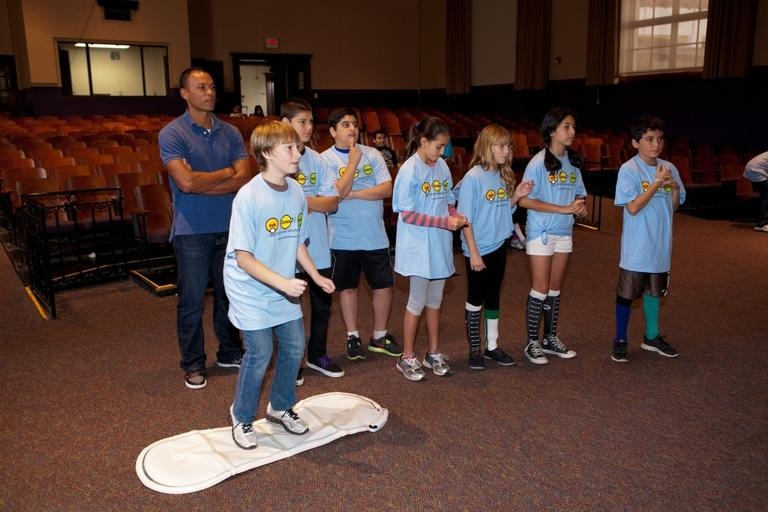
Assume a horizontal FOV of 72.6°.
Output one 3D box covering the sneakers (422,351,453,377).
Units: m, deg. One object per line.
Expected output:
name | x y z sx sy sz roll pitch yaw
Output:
sneakers | 0.439 0.855 4.207 0.113 0.131 0.276 0 5 -29

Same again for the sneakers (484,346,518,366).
sneakers | 0.958 0.821 4.295 0.276 0.116 0.103 6 12 41

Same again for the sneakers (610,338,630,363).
sneakers | 1.966 0.782 4.319 0.094 0.100 0.229 0 4 9

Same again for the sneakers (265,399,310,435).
sneakers | -0.628 1.082 3.542 0.332 0.160 0.146 23 20 11

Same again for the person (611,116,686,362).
person | 2.206 -0.137 4.316 0.588 1.942 0.845 9 21 30

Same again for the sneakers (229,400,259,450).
sneakers | -0.929 1.073 3.391 0.123 0.148 0.318 -4 39 -35

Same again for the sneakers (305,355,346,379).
sneakers | -0.467 0.888 4.248 0.352 0.147 0.133 14 19 25

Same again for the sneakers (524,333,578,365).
sneakers | 1.383 0.786 4.387 0.284 0.102 0.272 -3 0 -30

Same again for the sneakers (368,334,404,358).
sneakers | 0.023 0.770 4.559 0.311 0.145 0.138 8 5 24

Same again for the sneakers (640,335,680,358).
sneakers | 2.361 0.760 4.472 0.296 0.138 0.134 13 20 39

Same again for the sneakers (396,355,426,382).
sneakers | 0.211 0.877 4.122 0.109 0.137 0.274 -5 11 -28

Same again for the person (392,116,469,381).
person | 0.357 -0.066 4.107 0.545 1.961 0.739 -1 18 2
